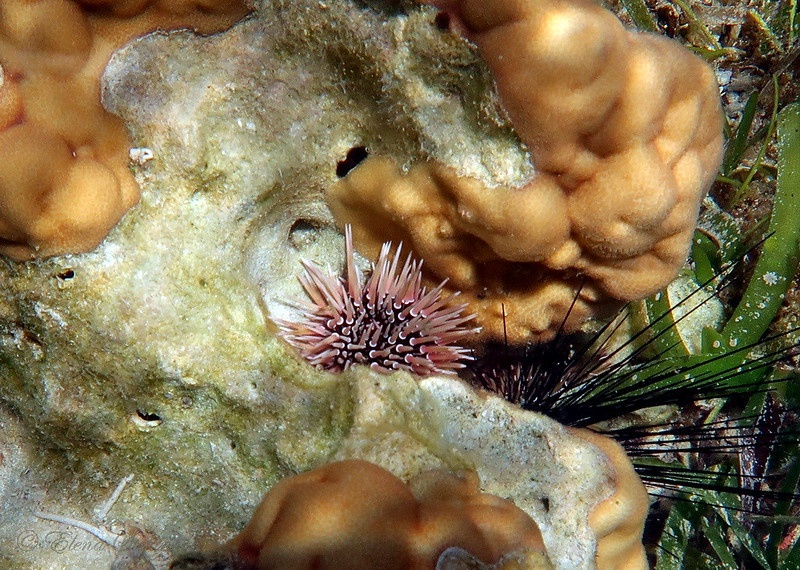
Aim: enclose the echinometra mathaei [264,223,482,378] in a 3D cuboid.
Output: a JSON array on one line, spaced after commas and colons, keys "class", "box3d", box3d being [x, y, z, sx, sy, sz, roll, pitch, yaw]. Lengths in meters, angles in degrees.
[{"class": "echinometra mathaei", "box3d": [-0.097, 0.146, 6.347, 1.058, 0.581, 0.705, 15, 76, -4]}]
